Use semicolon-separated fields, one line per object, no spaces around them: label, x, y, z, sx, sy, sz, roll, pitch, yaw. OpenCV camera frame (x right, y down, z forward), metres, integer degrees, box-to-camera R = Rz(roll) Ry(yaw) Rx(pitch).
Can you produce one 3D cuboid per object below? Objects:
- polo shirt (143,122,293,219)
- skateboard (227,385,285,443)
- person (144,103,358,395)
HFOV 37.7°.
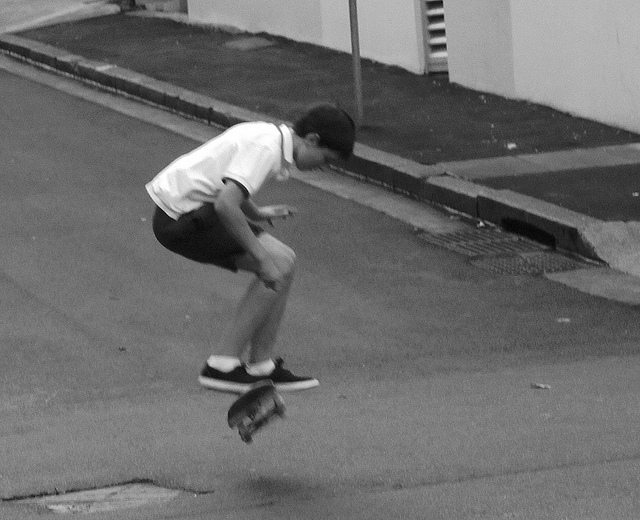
polo shirt;-0.510;-0.482;4.807;0.772;0.321;0.734;-13;14;11
skateboard;-0.303;0.723;4.541;0.278;0.101;0.218;-34;10;3
person;-0.370;-0.052;4.959;0.983;1.568;0.896;4;10;-4
